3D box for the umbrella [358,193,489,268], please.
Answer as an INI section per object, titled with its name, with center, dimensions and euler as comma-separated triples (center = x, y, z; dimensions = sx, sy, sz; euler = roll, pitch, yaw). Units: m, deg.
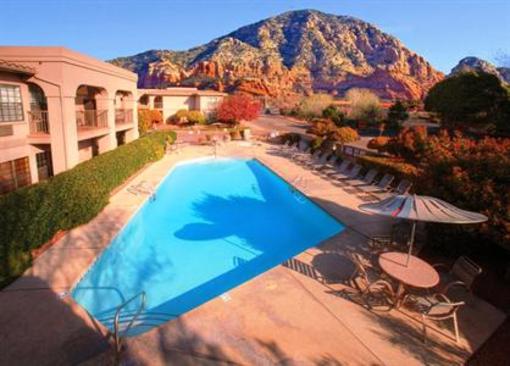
[umbrella]
center = 4.188, 0.691, 8.404
dimensions = 2.503, 1.550, 2.209
euler = 2, 17, 1
